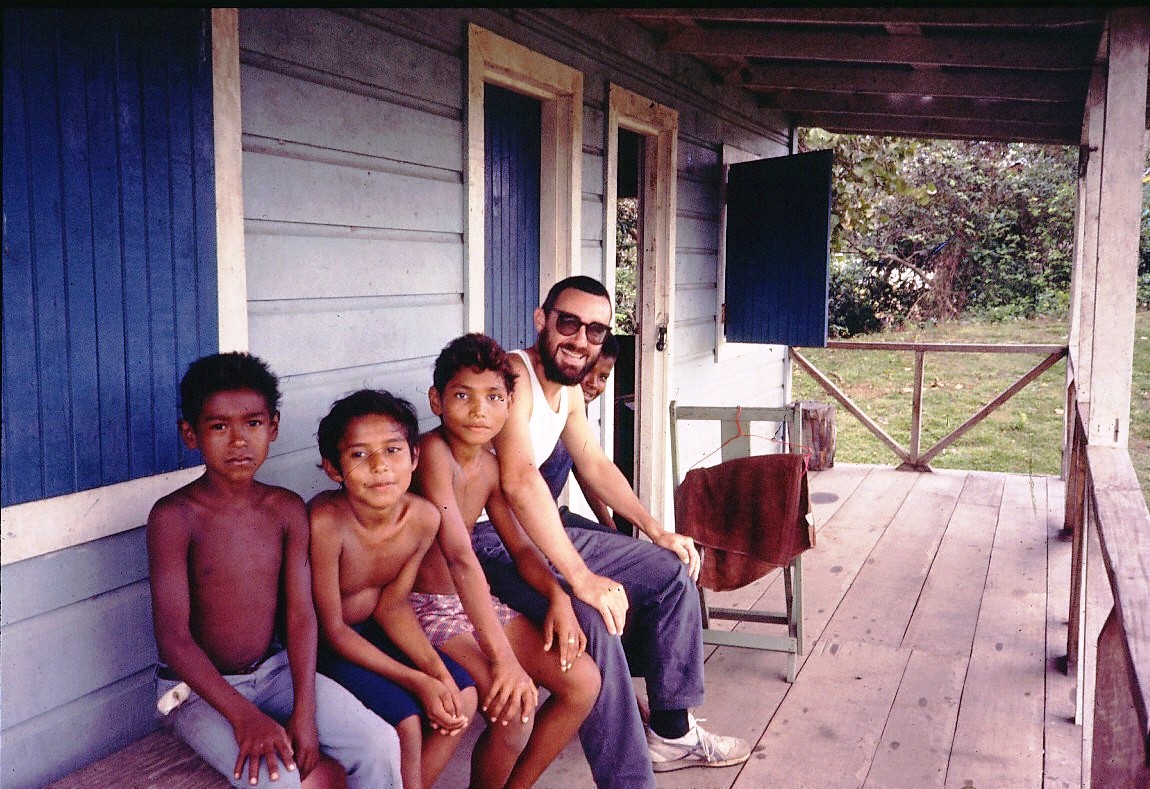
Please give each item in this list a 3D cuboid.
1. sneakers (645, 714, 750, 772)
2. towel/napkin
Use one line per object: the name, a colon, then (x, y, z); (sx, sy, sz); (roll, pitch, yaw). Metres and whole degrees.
sneakers: (0.504, 1.492, 3.814); (0.483, 0.214, 0.195); (-1, 7, -10)
towel/napkin: (0.814, 0.587, 4.238); (0.658, 0.665, 0.302); (-12, -17, 26)
